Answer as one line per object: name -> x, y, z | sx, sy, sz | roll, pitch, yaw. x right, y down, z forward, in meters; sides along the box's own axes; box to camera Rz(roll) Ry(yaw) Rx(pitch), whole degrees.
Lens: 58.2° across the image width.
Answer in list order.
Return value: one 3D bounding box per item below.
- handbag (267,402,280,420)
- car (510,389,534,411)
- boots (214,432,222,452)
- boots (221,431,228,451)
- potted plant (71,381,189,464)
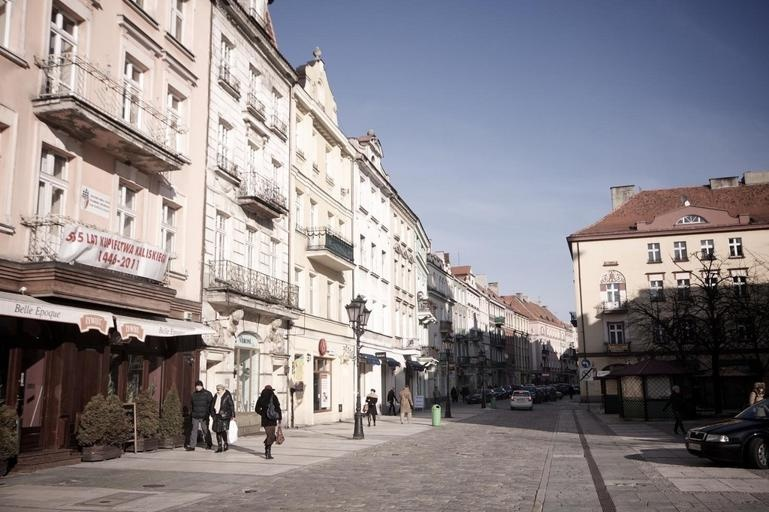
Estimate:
handbag -> -3.678, 5.103, 22.548 | 0.521, 0.655, 0.284 | 0, 6, 24
car -> 11.051, 11.623, 55.240 | 1.378, 1.495, 1.954 | 3, -9, -22
boots -> -5.900, 6.657, 24.610 | 0.208, 0.645, 0.406 | 2, -8, -12
boots -> -5.718, 6.645, 24.653 | 0.192, 0.659, 0.295 | 1, -7, -10
potted plant -> -8.589, 5.607, 23.243 | 0.850, 2.187, 3.816 | -3, -9, 25
